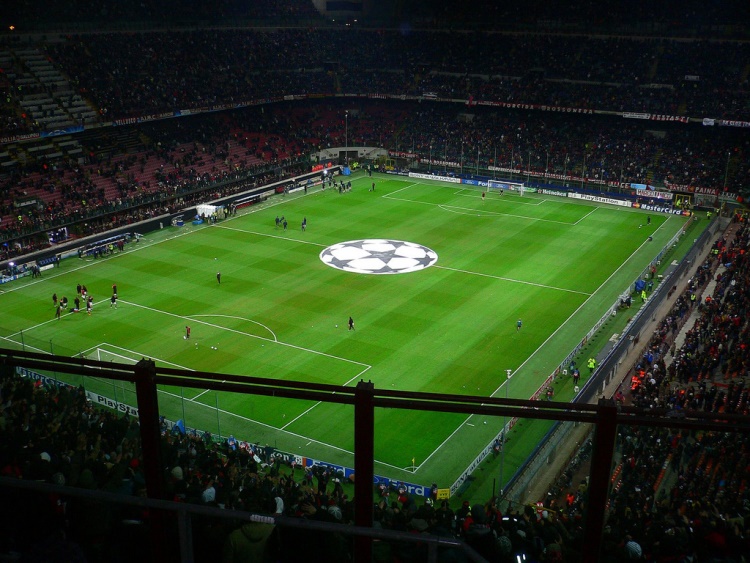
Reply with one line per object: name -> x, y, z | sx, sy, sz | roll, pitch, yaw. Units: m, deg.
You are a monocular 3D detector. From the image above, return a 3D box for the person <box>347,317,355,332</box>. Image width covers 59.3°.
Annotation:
person -> -1.801, 2.884, 48.727 | 0.550, 0.976, 1.859 | 2, 22, -3
